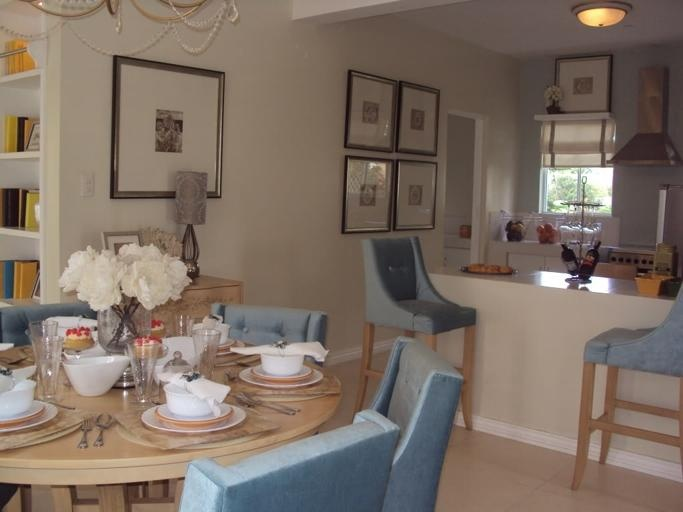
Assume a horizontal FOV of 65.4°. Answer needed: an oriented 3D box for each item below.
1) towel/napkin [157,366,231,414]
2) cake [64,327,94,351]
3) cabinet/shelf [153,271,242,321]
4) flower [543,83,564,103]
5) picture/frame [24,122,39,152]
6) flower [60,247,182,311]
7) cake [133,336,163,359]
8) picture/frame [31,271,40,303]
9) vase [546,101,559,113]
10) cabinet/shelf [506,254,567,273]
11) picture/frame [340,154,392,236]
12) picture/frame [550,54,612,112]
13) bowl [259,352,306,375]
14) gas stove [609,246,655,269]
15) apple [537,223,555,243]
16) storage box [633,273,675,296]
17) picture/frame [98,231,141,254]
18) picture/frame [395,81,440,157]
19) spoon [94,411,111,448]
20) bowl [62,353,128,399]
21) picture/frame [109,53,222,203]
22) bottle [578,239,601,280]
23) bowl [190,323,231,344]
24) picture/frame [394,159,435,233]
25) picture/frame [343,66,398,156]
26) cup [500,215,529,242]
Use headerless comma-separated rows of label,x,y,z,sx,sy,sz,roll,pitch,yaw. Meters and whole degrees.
towel/napkin,-0.408,0.359,1.512,0.131,0.060,0.136,2,5,-36
cake,-0.963,0.297,1.936,0.084,0.054,0.087,0,-2,-6
cabinet/shelf,-0.887,0.269,3.425,0.243,0.418,0.433,1,-2,35
flower,2.671,-2.011,6.631,0.222,0.241,0.227,-3,6,-19
picture/frame,-2.049,-0.799,3.531,0.085,0.198,0.273,-5,11,-34
flower,-0.744,0.036,1.820,0.266,0.165,0.268,5,14,-29
cake,-0.601,0.266,1.661,0.076,0.051,0.079,2,7,-1
picture/frame,-2.035,0.209,3.539,0.172,0.208,0.014,-9,-18,44
vase,2.659,-1.857,6.668,0.134,0.134,0.129,1,2,32
cabinet/shelf,2.364,0.072,6.418,0.683,0.210,0.083,7,11,35
picture/frame,0.220,-0.604,5.079,0.056,0.844,0.790,4,3,42
picture/frame,3.042,-2.149,6.649,0.731,0.794,0.074,2,1,24
bowl,-0.212,0.380,1.928,0.097,0.047,0.098,0,0,0
gas stove,3.278,0.021,6.031,0.445,0.204,0.354,6,10,27
apple,2.519,-0.279,6.488,0.224,0.229,0.171,5,10,25
storage box,1.904,0.170,3.285,0.155,0.096,0.191,-1,-2,38
picture/frame,-1.284,-0.085,3.038,0.014,0.136,0.187,-19,-10,31
picture/frame,0.773,-1.442,5.506,0.781,0.831,0.053,-6,11,-44
spoon,-0.667,0.478,1.485,0.031,0.023,0.134,-5,14,-6
bowl,-0.788,0.361,1.709,0.147,0.074,0.153,0,-6,0
picture/frame,-1.236,-0.890,3.646,1.027,1.143,0.072,-4,8,-40
bottle,1.792,0.025,3.831,0.110,0.264,0.410,6,10,29
bowl,-0.515,0.297,2.144,0.125,0.061,0.130,1,0,0
picture/frame,0.753,-0.648,5.592,0.082,0.862,0.780,2,1,40
picture/frame,0.256,-1.392,5.031,0.868,0.938,0.085,-4,10,-42
cup,2.264,-0.354,6.862,0.357,0.395,0.281,-2,-4,33
